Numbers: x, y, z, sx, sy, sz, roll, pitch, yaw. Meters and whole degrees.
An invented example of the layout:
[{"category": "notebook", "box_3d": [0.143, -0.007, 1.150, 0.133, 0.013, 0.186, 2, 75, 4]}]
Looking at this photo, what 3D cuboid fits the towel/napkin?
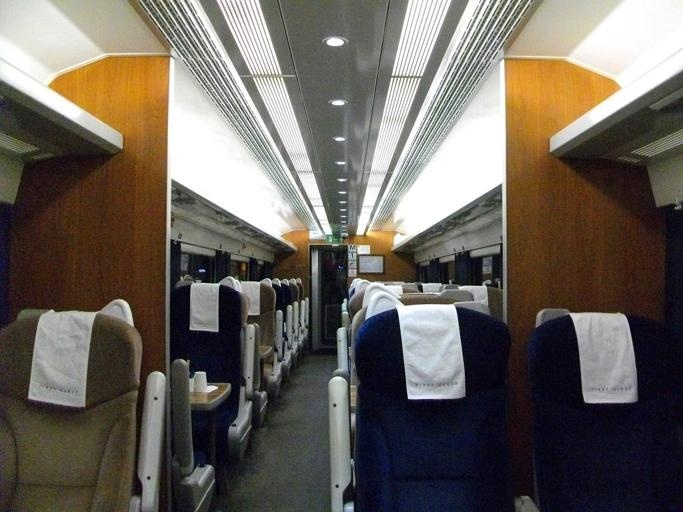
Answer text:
[{"category": "towel/napkin", "box_3d": [-1.703, 0.614, 3.117, 0.331, 0.591, 0.177, 4, -3, -1]}]
